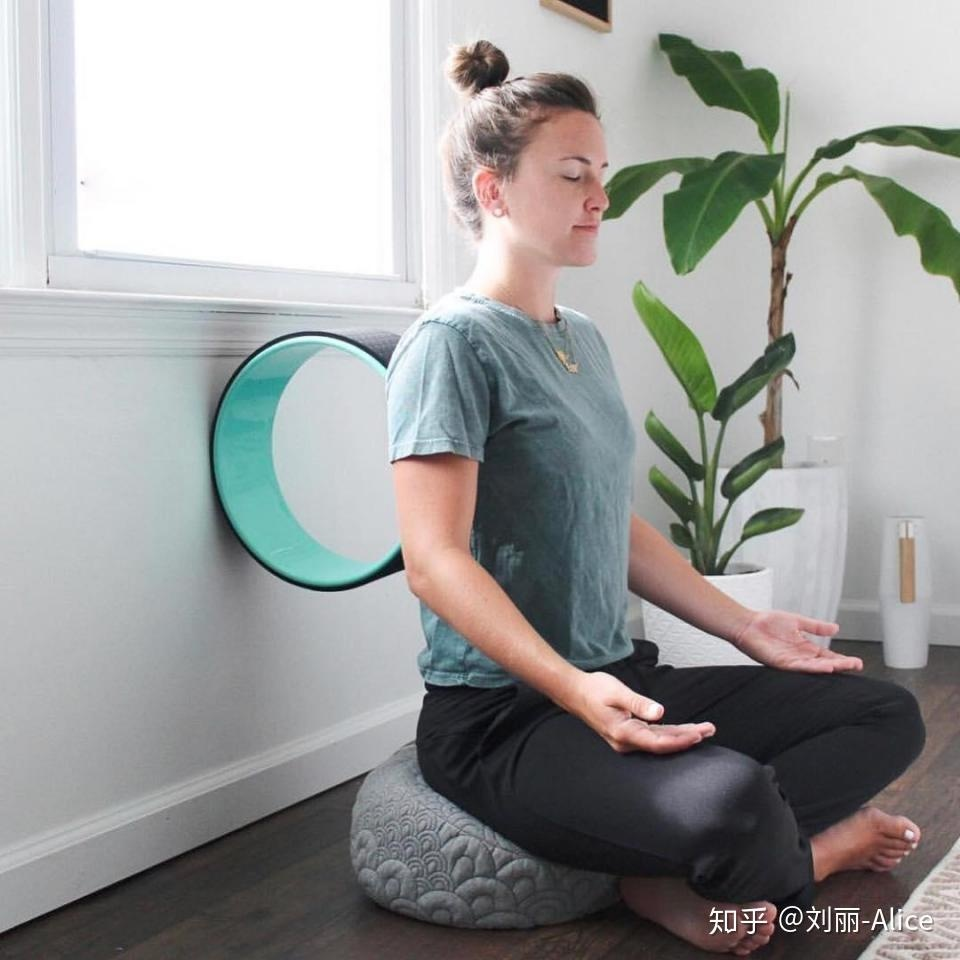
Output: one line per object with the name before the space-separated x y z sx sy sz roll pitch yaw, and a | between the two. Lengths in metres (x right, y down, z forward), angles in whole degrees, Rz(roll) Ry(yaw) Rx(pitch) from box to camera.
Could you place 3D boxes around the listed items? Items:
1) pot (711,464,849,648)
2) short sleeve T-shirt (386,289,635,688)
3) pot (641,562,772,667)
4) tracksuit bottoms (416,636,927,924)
pot | 0.910 0.194 2.676 0.383 0.697 0.441 0 2 23
short sleeve T-shirt | 0.065 -0.001 1.111 0.179 0.422 0.406 -3 -1 43
pot | 0.594 0.363 2.270 0.284 0.350 0.376 1 -7 -5
tracksuit bottoms | 0.223 0.333 1.031 0.398 0.180 0.393 2 -2 15
